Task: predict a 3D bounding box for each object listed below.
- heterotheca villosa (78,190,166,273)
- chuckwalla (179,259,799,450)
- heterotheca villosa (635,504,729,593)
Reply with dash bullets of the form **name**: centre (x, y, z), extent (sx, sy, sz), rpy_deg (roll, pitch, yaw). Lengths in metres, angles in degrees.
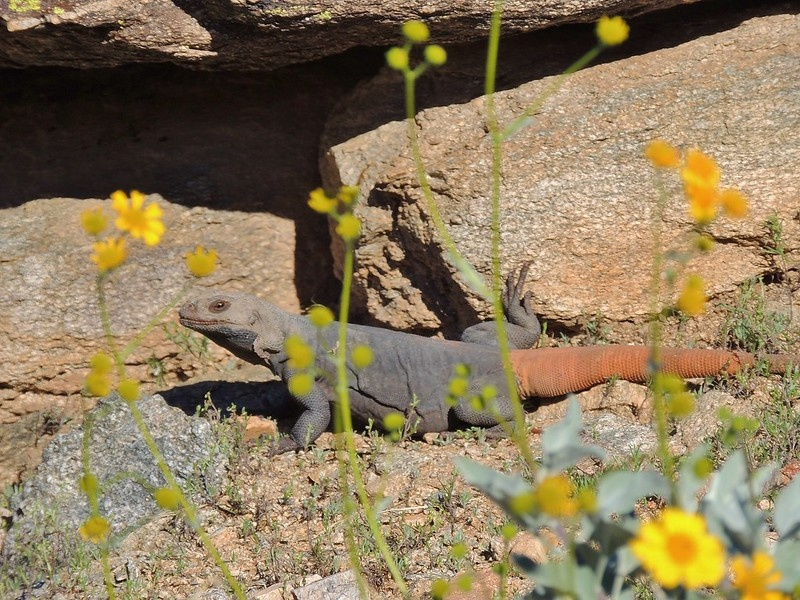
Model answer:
- **heterotheca villosa**: centre (-1.670, -0.381, 8.455), extent (0.403, 0.336, 0.551), rpy_deg (18, -23, -30)
- **chuckwalla**: centre (0.285, 0.357, 9.255), extent (3.448, 0.990, 0.885), rpy_deg (-4, 17, 2)
- **heterotheca villosa**: centre (1.262, 1.131, 6.415), extent (0.427, 0.344, 0.252), rpy_deg (-3, 18, 7)
